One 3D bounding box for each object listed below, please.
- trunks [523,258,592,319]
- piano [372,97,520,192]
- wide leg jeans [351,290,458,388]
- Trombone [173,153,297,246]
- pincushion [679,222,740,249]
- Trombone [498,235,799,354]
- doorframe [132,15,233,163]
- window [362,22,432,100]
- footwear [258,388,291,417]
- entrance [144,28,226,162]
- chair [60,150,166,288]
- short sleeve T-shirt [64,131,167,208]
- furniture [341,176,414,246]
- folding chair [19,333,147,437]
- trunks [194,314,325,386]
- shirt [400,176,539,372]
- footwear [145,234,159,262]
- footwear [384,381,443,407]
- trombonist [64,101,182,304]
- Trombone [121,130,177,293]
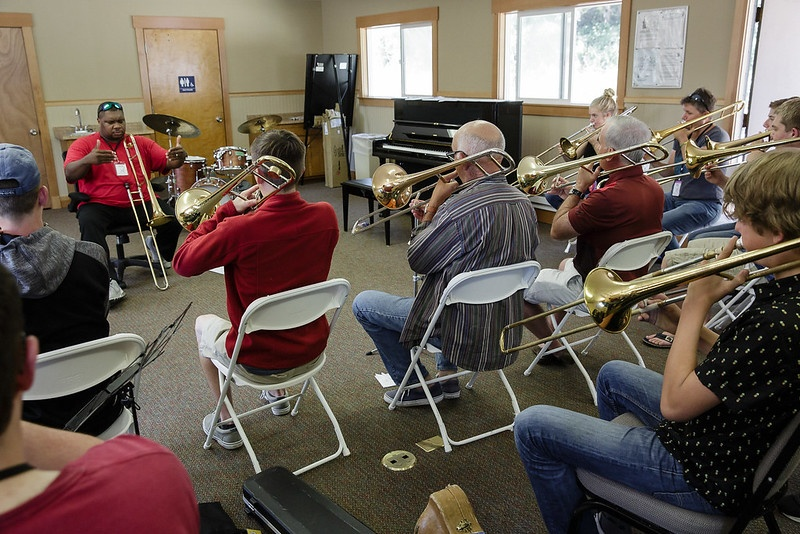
[{"bbox_3d":[0.910,0.106,3.229,0.227,0.216,0.405,-1,-10,-26],"label":"trunks"},{"bbox_3d":[0.471,-1.328,6.528,0.827,1.247,1.615,-2,16,-36],"label":"piano"},{"bbox_3d":[0.015,0.317,3.142,0.472,0.612,0.516,-10,14,-1],"label":"wide leg jeans"},{"bbox_3d":[-0.740,-0.367,2.621,0.592,0.312,0.337,-27,-23,20],"label":"Trombone"},{"bbox_3d":[1.951,-0.202,3.520,0.343,0.120,0.260,-12,5,33],"label":"pincushion"},{"bbox_3d":[0.982,0.111,2.323,1.207,0.355,0.347,-18,5,14],"label":"Trombone"},{"bbox_3d":[-2.945,-2.272,7.737,1.174,2.811,0.142,-8,-19,-13],"label":"doorframe"},{"bbox_3d":[-0.067,-2.909,7.865,0.189,0.952,1.378,-17,24,-37],"label":"window"},{"bbox_3d":[-0.672,0.716,3.018,0.101,0.108,0.242,-5,28,-19],"label":"footwear"},{"bbox_3d":[-2.969,-2.361,7.779,1.093,2.611,0.134,-7,-23,-15],"label":"entrance"},{"bbox_3d":[-2.143,-0.396,4.241,0.728,0.801,1.002,-17,42,-40],"label":"chair"},{"bbox_3d":[-2.514,-0.847,4.990,0.891,0.335,1.025,-9,-9,-29],"label":"short sleeve T-shirt"},{"bbox_3d":[-0.192,-0.775,6.036,0.706,0.615,0.585,-19,-4,33],"label":"furniture"},{"bbox_3d":[-1.096,0.394,1.906,0.244,0.385,0.290,-22,57,-27],"label":"folding chair"},{"bbox_3d":[-0.780,0.389,2.603,0.367,0.131,0.367,-4,14,-36],"label":"trunks"},{"bbox_3d":[0.380,0.004,2.886,0.734,1.007,0.579,-18,31,-40],"label":"shirt"},{"bbox_3d":[-2.187,-0.166,4.922,0.070,0.244,0.093,-10,-3,3],"label":"footwear"},{"bbox_3d":[0.082,0.692,3.127,0.349,0.157,0.135,1,-1,2],"label":"footwear"},{"bbox_3d":[-2.140,-0.577,4.562,1.327,1.409,0.811,20,27,32],"label":"trombonist"},{"bbox_3d":[-2.177,-0.444,4.815,0.343,1.602,0.281,-18,-14,20],"label":"Trombone"}]
